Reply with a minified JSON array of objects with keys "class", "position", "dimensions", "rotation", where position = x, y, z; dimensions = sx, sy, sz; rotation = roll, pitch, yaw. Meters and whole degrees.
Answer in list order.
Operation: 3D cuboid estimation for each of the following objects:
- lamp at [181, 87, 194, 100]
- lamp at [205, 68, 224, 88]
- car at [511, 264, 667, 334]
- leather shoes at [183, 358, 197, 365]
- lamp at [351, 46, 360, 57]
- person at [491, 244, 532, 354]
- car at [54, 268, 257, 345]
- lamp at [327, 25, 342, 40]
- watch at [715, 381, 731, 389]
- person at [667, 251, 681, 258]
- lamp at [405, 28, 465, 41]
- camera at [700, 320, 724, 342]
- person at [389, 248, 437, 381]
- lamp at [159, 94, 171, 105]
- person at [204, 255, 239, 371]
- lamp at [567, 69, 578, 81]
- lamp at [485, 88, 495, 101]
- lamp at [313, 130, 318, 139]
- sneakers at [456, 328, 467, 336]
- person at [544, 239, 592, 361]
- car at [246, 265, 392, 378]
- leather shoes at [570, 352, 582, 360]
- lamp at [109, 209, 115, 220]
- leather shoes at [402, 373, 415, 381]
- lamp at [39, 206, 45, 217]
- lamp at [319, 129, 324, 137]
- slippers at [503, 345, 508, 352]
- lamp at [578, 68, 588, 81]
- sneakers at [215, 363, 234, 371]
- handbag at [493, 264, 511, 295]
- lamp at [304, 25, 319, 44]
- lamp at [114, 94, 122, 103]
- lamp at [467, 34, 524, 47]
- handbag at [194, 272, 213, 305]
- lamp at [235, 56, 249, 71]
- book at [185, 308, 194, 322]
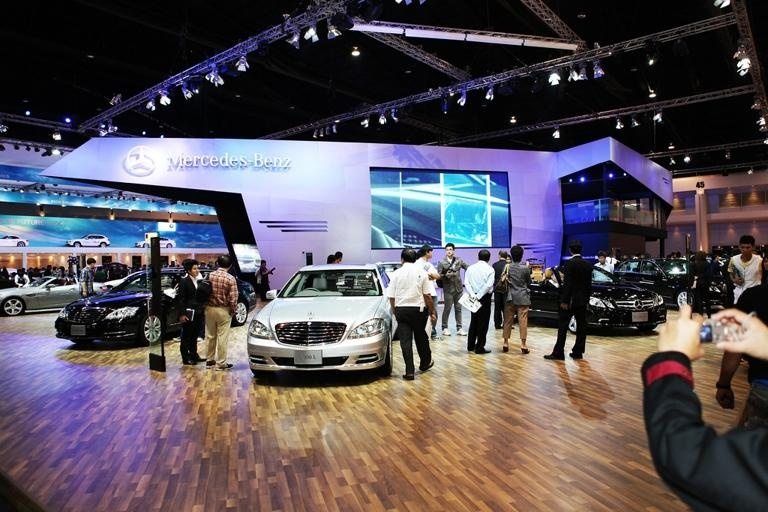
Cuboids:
[{"class":"lamp","position":[-6.134,-5.104,13.119],"dimensions":[0.263,0.310,0.512],"rotation":[-3,5,-28]},{"class":"lamp","position":[-4.995,-5.209,12.425],"dimensions":[0.451,0.467,0.143],"rotation":[-33,-17,-30]},{"class":"car","position":[4.605,1.031,10.245],"dimensions":[1.522,1.168,3.543],"rotation":[1,-5,-21]},{"class":"leather shoes","position":[-3.593,1.931,7.768],"dimensions":[0.173,0.172,0.114],"rotation":[0,-5,2]},{"class":"lamp","position":[-0.883,-6.216,12.852],"dimensions":[0.280,0.109,0.545],"rotation":[-1,4,-6]},{"class":"person","position":[2.542,0.826,8.147],"dimensions":[0.505,2.050,0.656],"rotation":[0,5,18]},{"class":"car","position":[-4.911,1.234,10.113],"dimensions":[1.863,1.380,4.489],"rotation":[0,-3,26]},{"class":"lamp","position":[-1.241,-5.472,10.365],"dimensions":[0.289,0.231,0.527],"rotation":[-2,4,-10]},{"class":"watch","position":[3.158,1.201,3.922],"dimensions":[0.088,0.028,0.092],"rotation":[2,3,40]},{"class":"person","position":[15.225,-0.094,22.115],"dimensions":[0.678,0.390,0.986],"rotation":[-1,-3,19]},{"class":"lamp","position":[1.372,-5.982,11.452],"dimensions":[1.662,0.182,0.415],"rotation":[-1,4,-5]},{"class":"camera","position":[1.737,0.402,2.237],"dimensions":[0.062,0.116,0.068],"rotation":[5,-32,1]},{"class":"person","position":[0.452,0.912,6.826],"dimensions":[0.759,2.043,0.582],"rotation":[-1,5,-2]},{"class":"lamp","position":[-6.947,-4.960,13.290],"dimensions":[0.340,0.116,0.257],"rotation":[-7,-16,36]},{"class":"person","position":[-2.902,0.975,7.446],"dimensions":[0.527,1.966,0.661],"rotation":[-4,6,-33]},{"class":"lamp","position":[5.581,-5.308,12.384],"dimensions":[0.282,0.287,0.440],"rotation":[1,5,20]},{"class":"lamp","position":[3.472,-5.397,13.929],"dimensions":[0.214,0.398,0.533],"rotation":[1,5,23]},{"class":"lamp","position":[-2.983,-5.289,18.310],"dimensions":[0.200,0.211,0.322],"rotation":[7,2,-4]},{"class":"sneakers","position":[1.820,1.799,9.947],"dimensions":[0.108,0.125,0.288],"rotation":[0,-7,-37]},{"class":"person","position":[3.386,0.788,7.682],"dimensions":[0.628,2.131,0.896],"rotation":[2,6,35]},{"class":"car","position":[-0.914,0.999,7.184],"dimensions":[1.466,1.087,2.731],"rotation":[-2,-8,5]},{"class":"leather shoes","position":[3.494,1.818,7.684],"dimensions":[0.099,0.124,0.178],"rotation":[-5,-10,-10]},{"class":"lamp","position":[-16.956,-2.611,26.246],"dimensions":[0.283,0.613,0.420],"rotation":[2,6,36]},{"class":"leather shoes","position":[0.391,1.887,6.679],"dimensions":[0.181,0.118,0.166],"rotation":[-1,4,2]},{"class":"lamp","position":[-18.927,-2.473,23.209],"dimensions":[0.189,0.621,0.302],"rotation":[3,6,39]},{"class":"lamp","position":[-2.712,-5.409,18.387],"dimensions":[0.199,0.227,0.393],"rotation":[-2,4,-9]},{"class":"slippers","position":[2.346,1.787,8.160],"dimensions":[0.088,0.108,0.273],"rotation":[-2,-11,10]},{"class":"lamp","position":[5.738,-5.298,12.197],"dimensions":[0.180,0.299,0.263],"rotation":[1,5,23]},{"class":"sneakers","position":[-2.793,1.916,7.345],"dimensions":[0.297,0.139,0.105],"rotation":[0,3,-19]},{"class":"handbag","position":[2.291,0.449,8.167],"dimensions":[0.213,0.559,0.558],"rotation":[12,2,15]},{"class":"lamp","position":[-1.849,-5.571,10.576],"dimensions":[0.260,0.380,0.377],"rotation":[-2,5,-16]},{"class":"lamp","position":[-9.055,-5.310,14.218],"dimensions":[0.257,0.079,0.264],"rotation":[-20,1,43]},{"class":"lamp","position":[3.062,-5.905,11.729],"dimensions":[1.392,0.224,0.276],"rotation":[3,1,-2]},{"class":"handbag","position":[-3.066,0.571,7.289],"dimensions":[0.327,0.477,0.150],"rotation":[3,7,1]},{"class":"lamp","position":[-4.028,-5.426,11.842],"dimensions":[0.306,0.407,0.496],"rotation":[-3,5,-22]},{"class":"book","position":[-3.493,1.053,7.520],"dimensions":[0.174,0.168,0.043],"rotation":[4,0,-11]}]
